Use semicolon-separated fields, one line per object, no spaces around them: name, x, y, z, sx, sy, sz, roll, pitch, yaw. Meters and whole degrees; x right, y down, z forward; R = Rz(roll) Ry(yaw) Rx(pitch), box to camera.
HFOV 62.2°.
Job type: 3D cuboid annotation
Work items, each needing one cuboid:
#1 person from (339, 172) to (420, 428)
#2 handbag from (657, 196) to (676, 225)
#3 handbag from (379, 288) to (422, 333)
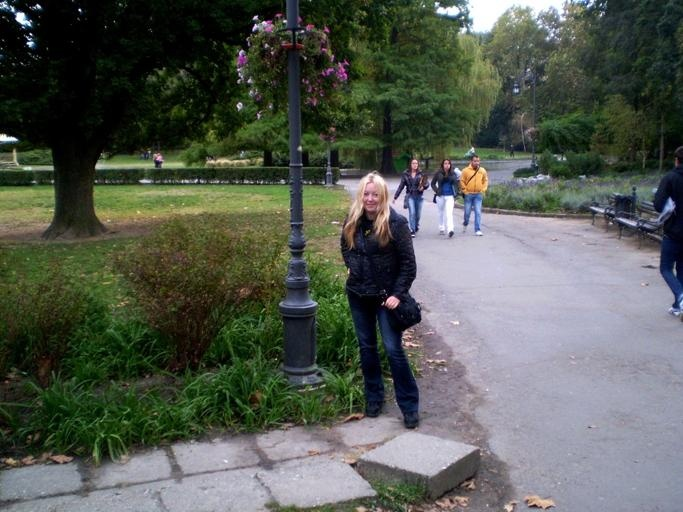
person;0.434;0.429;5.761;0.860;2.449;0.381;7;13;36
handbag;4.814;-0.686;8.386;0.122;0.334;0.293;20;22;6
handbag;0.640;0.508;5.696;0.306;0.444;0.233;-2;-4;-34
